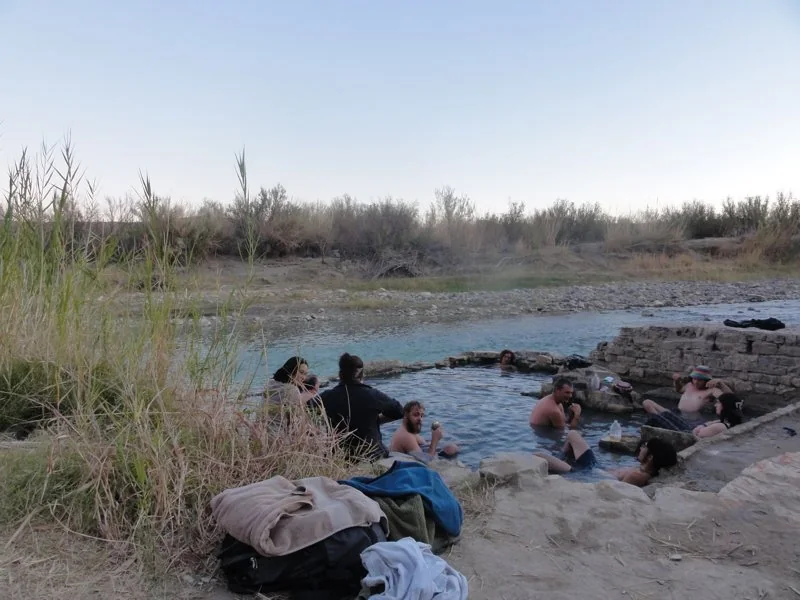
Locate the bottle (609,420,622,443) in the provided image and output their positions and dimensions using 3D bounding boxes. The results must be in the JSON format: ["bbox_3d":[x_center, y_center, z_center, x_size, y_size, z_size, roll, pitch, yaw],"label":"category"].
[{"bbox_3d":[3.218,1.960,8.810,0.171,0.276,0.174,0,-1,0],"label":"bottle"}]

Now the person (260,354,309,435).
[{"bbox_3d":[-1.272,1.041,6.506,0.508,1.013,0.405,-8,27,-31],"label":"person"}]

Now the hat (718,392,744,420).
[{"bbox_3d":[4.793,1.559,8.529,0.297,0.421,0.280,3,2,11],"label":"hat"}]

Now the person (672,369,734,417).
[{"bbox_3d":[5.203,1.588,10.061,0.274,0.763,0.571,38,-9,-24],"label":"person"}]

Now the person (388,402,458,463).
[{"bbox_3d":[0.327,1.776,8.117,0.924,0.947,0.640,-2,12,-4],"label":"person"}]

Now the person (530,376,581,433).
[{"bbox_3d":[2.549,1.543,9.474,0.857,0.986,0.696,-3,21,-4],"label":"person"}]

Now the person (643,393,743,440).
[{"bbox_3d":[4.488,1.781,8.868,0.802,0.773,1.273,-3,-1,-40],"label":"person"}]

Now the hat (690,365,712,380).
[{"bbox_3d":[5.252,1.263,10.292,0.281,0.156,0.288,2,4,-34],"label":"hat"}]

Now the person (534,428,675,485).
[{"bbox_3d":[2.628,2.049,7.640,1.717,0.748,0.752,-2,-13,28],"label":"person"}]
